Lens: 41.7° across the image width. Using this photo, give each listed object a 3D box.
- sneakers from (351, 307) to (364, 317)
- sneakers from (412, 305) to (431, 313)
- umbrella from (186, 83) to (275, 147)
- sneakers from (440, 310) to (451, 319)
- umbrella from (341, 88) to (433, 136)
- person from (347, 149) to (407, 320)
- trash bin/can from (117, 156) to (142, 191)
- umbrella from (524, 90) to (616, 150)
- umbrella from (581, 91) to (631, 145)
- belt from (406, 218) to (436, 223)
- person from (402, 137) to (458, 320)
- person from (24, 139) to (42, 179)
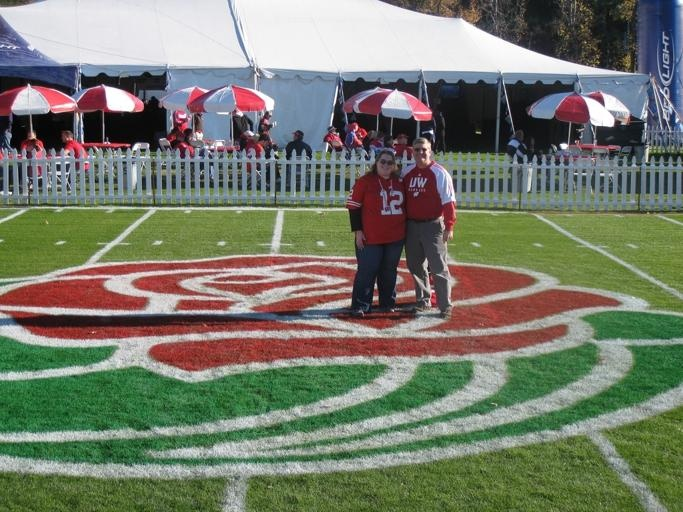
[{"bbox_3d":[0.189,0.666,10.753,0.135,0.075,0.069,5,-26,26],"label":"sneakers"},{"bbox_3d":[0.963,0.627,10.924,0.140,0.069,0.089,0,-1,-10],"label":"sneakers"},{"bbox_3d":[-3.133,-4.002,25.225,2.037,1.570,2.328,-1,15,-3],"label":"umbrella"},{"bbox_3d":[1.229,0.673,10.666,0.077,0.042,0.118,6,-32,-5],"label":"sneakers"},{"bbox_3d":[1.284,-4.331,25.430,1.903,0.793,2.794,-4,15,-19],"label":"umbrella"},{"bbox_3d":[0.410,-0.292,10.756,0.706,1.922,0.363,0,11,-5],"label":"person"},{"bbox_3d":[-4.494,-1.740,19.116,0.526,0.805,0.695,-3,13,-17],"label":"trash bin/can"},{"bbox_3d":[6.065,-3.788,24.353,1.318,1.082,1.442,6,9,0],"label":"umbrella"},{"bbox_3d":[7.848,-4.050,26.576,1.189,0.702,1.332,4,17,-6],"label":"umbrella"},{"bbox_3d":[0.950,-0.424,10.733,0.352,0.091,0.074,4,13,10],"label":"belt"},{"bbox_3d":[1.038,-0.358,10.779,0.696,2.035,0.445,6,12,27],"label":"person"},{"bbox_3d":[-6.549,-2.095,19.121,0.382,0.826,1.223,-4,14,-22],"label":"person"}]
